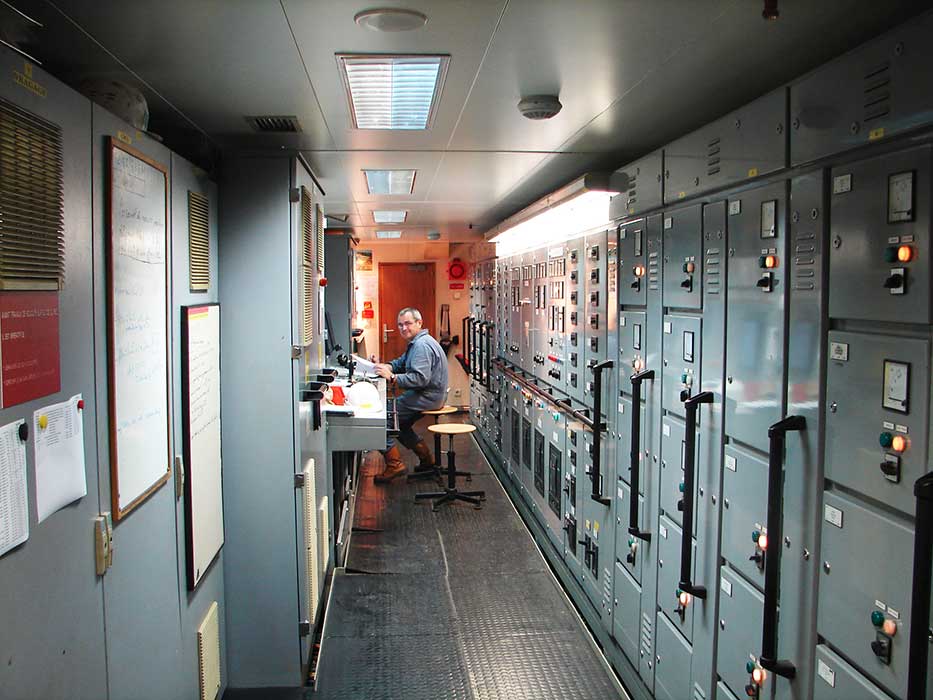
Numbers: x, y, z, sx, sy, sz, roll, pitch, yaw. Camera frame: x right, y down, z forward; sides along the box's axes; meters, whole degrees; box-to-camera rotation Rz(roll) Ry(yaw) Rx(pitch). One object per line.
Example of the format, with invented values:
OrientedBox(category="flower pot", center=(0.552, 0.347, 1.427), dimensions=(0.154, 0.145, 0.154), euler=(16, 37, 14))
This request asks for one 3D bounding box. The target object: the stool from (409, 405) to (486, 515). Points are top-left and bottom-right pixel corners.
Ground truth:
OrientedBox(category="stool", center=(-0.183, 1.217, 7.167), dimensions=(0.704, 0.764, 0.741), euler=(0, 0, -4))
